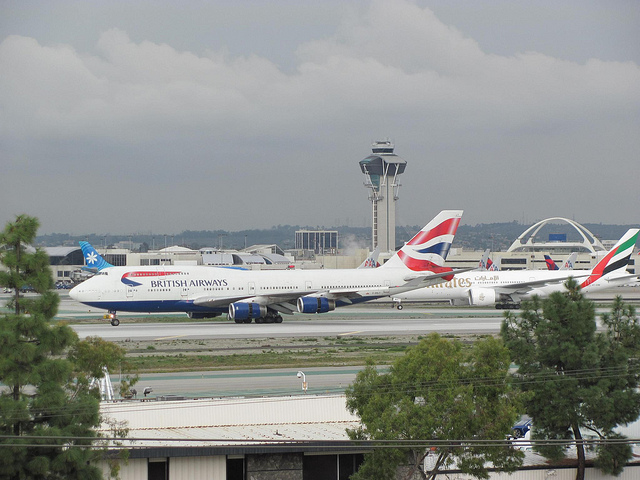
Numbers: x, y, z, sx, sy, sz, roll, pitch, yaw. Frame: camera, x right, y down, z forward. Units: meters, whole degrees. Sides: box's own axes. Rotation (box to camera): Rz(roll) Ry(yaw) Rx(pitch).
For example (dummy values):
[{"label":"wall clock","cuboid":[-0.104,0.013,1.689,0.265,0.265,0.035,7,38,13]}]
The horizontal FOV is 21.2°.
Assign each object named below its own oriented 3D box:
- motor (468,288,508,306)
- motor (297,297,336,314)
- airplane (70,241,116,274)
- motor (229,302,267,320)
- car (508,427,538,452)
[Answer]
[{"label":"motor","cuboid":[15.194,5.451,158.848,3.060,1.243,1.388,0,-35,-5]},{"label":"motor","cuboid":[-0.303,5.791,146.514,2.883,1.278,1.203,3,-50,-15]},{"label":"airplane","cuboid":[-30.273,2.653,230.903,4.780,1.963,5.100,7,6,25]},{"label":"motor","cuboid":[-5.996,6.076,144.470,2.931,1.381,1.080,3,-6,-35]},{"label":"car","cuboid":[12.645,13.117,111.356,2.586,1.049,1.673,2,-2,-13]}]
